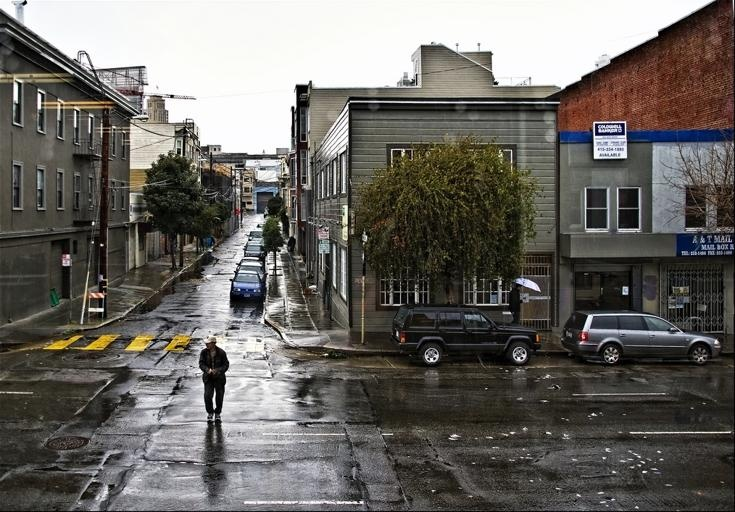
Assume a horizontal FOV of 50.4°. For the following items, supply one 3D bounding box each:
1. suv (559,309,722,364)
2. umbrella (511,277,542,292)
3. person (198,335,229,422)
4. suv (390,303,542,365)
[{"bbox_3d":[10.291,3.013,29.845,5.757,1.824,2.218,-1,1,-3],"label":"suv"},{"bbox_3d":[7.084,1.266,34.019,0.875,0.273,0.860,13,-8,44],"label":"umbrella"},{"bbox_3d":[-4.327,3.374,22.033,0.735,2.283,1.129,-1,9,-12],"label":"person"},{"bbox_3d":[3.384,2.681,29.393,4.489,1.749,2.450,-1,1,-9],"label":"suv"}]
